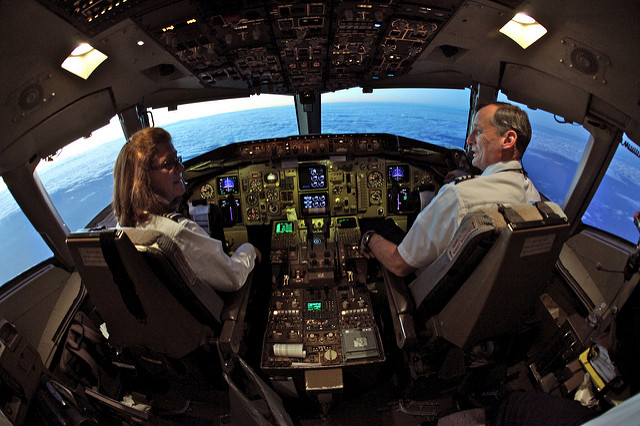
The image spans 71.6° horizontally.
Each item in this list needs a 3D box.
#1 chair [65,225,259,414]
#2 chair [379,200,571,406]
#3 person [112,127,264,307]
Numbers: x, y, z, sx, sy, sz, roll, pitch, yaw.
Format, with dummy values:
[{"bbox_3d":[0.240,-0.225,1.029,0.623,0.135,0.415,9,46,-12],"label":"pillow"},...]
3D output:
[{"bbox_3d":[-1.368,0.671,3.823,1.171,1.460,1.489,-5,18,22],"label":"chair"},{"bbox_3d":[0.815,0.535,3.958,1.273,1.616,1.610,-2,13,-9],"label":"chair"},{"bbox_3d":[-1.262,-0.063,3.847,1.469,1.274,0.945,10,18,30],"label":"person"}]
